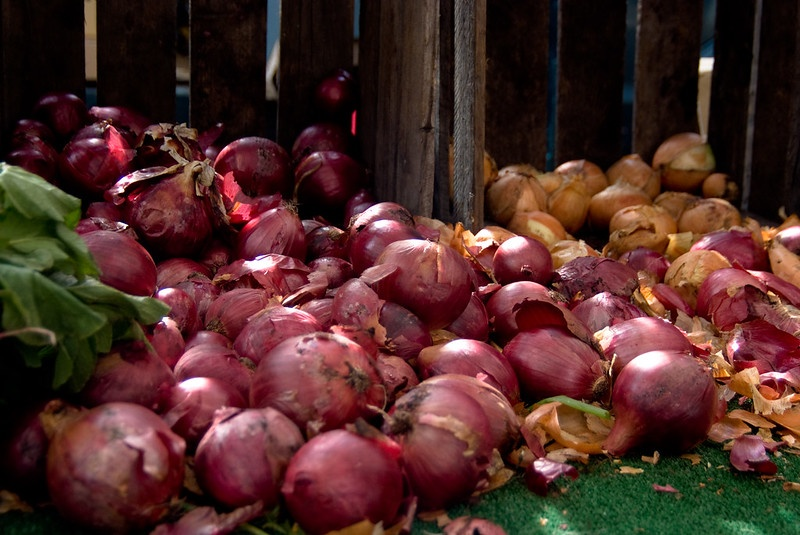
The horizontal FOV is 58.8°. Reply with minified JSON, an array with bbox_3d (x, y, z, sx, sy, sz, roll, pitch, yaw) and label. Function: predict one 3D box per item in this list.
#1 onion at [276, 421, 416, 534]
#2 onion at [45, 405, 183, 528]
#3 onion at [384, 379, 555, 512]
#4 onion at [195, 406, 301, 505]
[{"bbox_3d":[-0.132,0.546,1.819,0.263,0.220,0.228,9,51,-23],"label":"onion"},{"bbox_3d":[-0.725,0.519,1.829,0.301,0.284,0.149,6,14,8],"label":"onion"},{"bbox_3d":[0.188,0.479,1.990,0.357,0.228,0.286,-45,39,-19],"label":"onion"},{"bbox_3d":[-0.396,0.480,1.961,0.246,0.309,0.232,-9,-3,29],"label":"onion"}]
